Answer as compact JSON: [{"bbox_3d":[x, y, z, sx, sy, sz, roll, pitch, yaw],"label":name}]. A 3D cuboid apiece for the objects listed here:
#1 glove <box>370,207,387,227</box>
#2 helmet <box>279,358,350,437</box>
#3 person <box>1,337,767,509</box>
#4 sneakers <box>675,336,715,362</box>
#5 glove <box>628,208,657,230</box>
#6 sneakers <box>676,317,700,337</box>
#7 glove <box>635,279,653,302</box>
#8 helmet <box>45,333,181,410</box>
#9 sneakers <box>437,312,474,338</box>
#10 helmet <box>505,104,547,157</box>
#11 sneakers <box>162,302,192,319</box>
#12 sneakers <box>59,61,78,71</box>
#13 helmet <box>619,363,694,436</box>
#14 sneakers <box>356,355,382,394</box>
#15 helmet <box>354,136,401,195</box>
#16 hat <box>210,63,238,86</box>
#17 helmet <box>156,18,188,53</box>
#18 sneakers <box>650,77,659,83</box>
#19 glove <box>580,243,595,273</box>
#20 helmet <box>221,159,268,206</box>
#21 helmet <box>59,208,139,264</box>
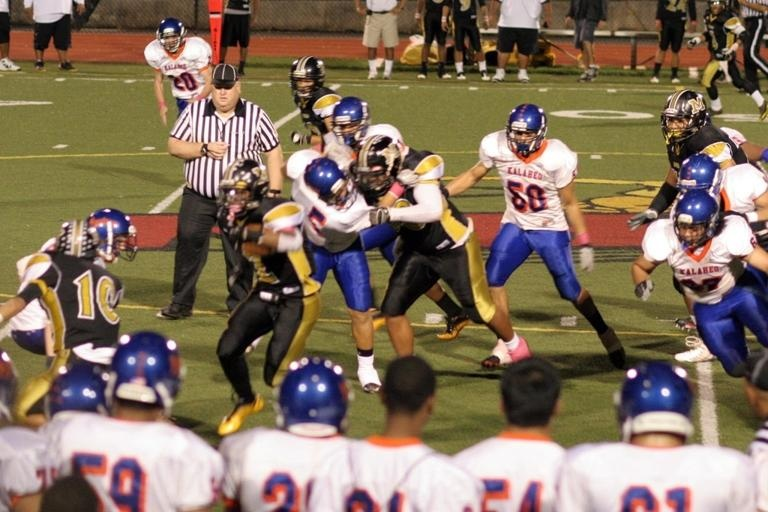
[{"bbox_3d":[-0.027,-0.276,6.466,0.141,0.115,0.068,3,6,-2],"label":"glove"},{"bbox_3d":[-0.314,0.638,4.140,0.296,0.269,0.359,2,9,-3],"label":"helmet"},{"bbox_3d":[0.697,0.844,4.115,2.386,0.735,0.392,2,6,-6],"label":"person"},{"bbox_3d":[2.640,0.788,7.561,0.457,0.192,0.136,0,7,2],"label":"sneakers"},{"bbox_3d":[2.205,-0.291,7.692,0.256,0.088,0.168,-18,26,-34],"label":"glove"},{"bbox_3d":[2.716,0.638,8.201,0.176,0.079,0.205,9,-16,31],"label":"sneakers"},{"bbox_3d":[1.954,0.244,6.872,0.112,0.161,0.242,5,6,12],"label":"glove"},{"bbox_3d":[-1.391,0.596,4.691,0.471,0.524,0.415,3,12,-5],"label":"helmet"},{"bbox_3d":[0.636,0.605,7.968,0.139,0.302,0.108,46,1,-40],"label":"sneakers"},{"bbox_3d":[1.155,-1.018,7.262,0.338,0.318,0.412,14,39,25],"label":"helmet"},{"bbox_3d":[-1.872,0.486,8.247,0.293,0.129,0.104,2,40,-43],"label":"sneakers"},{"bbox_3d":[-6.735,-4.000,19.463,0.402,0.149,0.140,6,11,44],"label":"sneakers"},{"bbox_3d":[1.184,0.643,4.123,0.294,0.329,0.367,3,0,4],"label":"helmet"},{"bbox_3d":[-0.110,0.882,6.819,0.134,0.137,0.353,-4,12,-8],"label":"sneakers"},{"bbox_3d":[-0.031,-0.635,6.607,0.263,0.335,0.287,28,-12,42],"label":"helmet"},{"bbox_3d":[-1.341,-1.558,7.857,0.175,0.117,0.225,6,29,-1],"label":"hat"},{"bbox_3d":[-2.330,-2.460,10.235,0.364,0.323,0.372,0,46,1],"label":"helmet"},{"bbox_3d":[5.890,-3.795,19.839,0.125,0.094,0.245,0,5,8],"label":"sneakers"},{"bbox_3d":[1.660,0.020,7.498,0.198,0.222,0.088,0,8,23],"label":"glove"},{"bbox_3d":[-0.912,-0.484,6.049,0.300,0.306,0.193,2,6,-7],"label":"helmet"},{"bbox_3d":[-1.908,-0.150,6.430,0.418,0.435,0.554,17,10,38],"label":"helmet"}]
